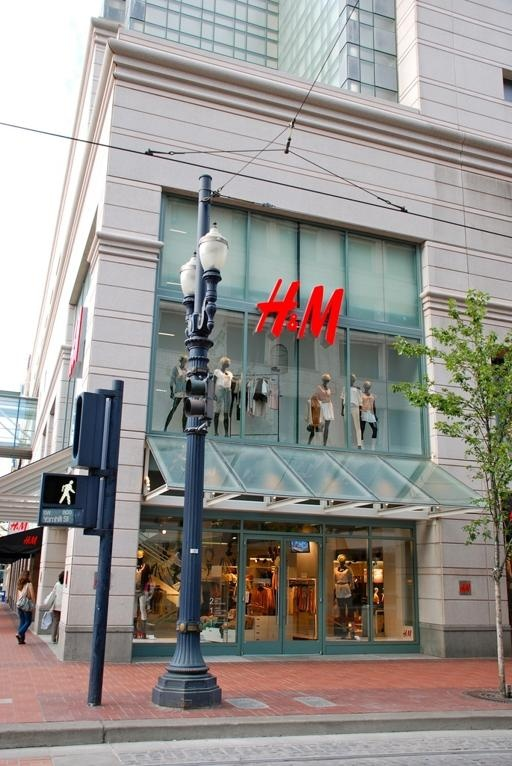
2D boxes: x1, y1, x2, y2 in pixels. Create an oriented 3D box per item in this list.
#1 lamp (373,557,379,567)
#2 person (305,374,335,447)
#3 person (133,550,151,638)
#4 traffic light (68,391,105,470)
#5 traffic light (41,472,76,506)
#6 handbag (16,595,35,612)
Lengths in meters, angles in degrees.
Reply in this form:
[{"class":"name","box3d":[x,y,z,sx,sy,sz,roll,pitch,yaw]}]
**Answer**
[{"class":"lamp","box3d":[2.804,4.238,13.813,0.138,0.132,0.058,4,-5,-33]},{"class":"person","box3d":[1.579,0.616,14.356,0.689,1.754,0.179,9,-15,-32]},{"class":"person","box3d":[-2.202,4.118,11.478,0.280,1.674,0.123,5,-14,-15]},{"class":"traffic light","box3d":[-1.957,0.557,6.937,0.334,0.916,0.207,5,-14,-15]},{"class":"traffic light","box3d":[-2.182,1.187,6.525,0.361,0.400,0.051,5,-4,-37]},{"class":"handbag","box3d":[-5.642,5.427,14.474,0.352,0.489,0.421,8,-15,-26]}]
